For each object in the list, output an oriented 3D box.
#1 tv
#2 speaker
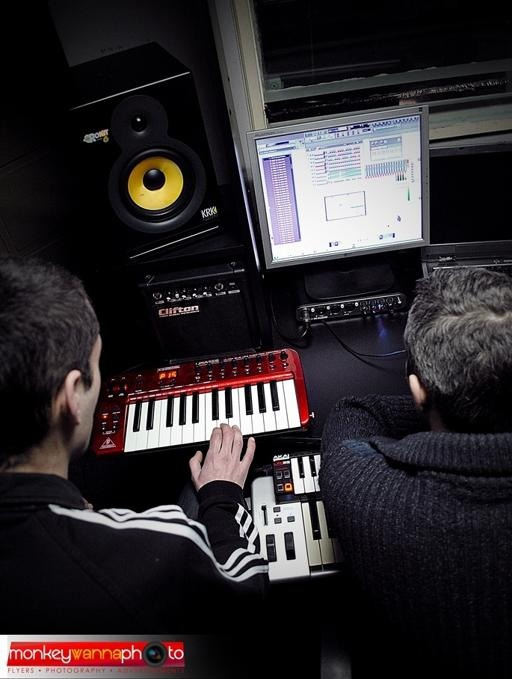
[{"bbox_3d":[0.278,-0.442,1.572,0.739,0.682,0.086,-10,36,6],"label":"tv"},{"bbox_3d":[-0.348,-0.522,1.405,0.414,0.501,0.379,-24,36,-5],"label":"speaker"}]
